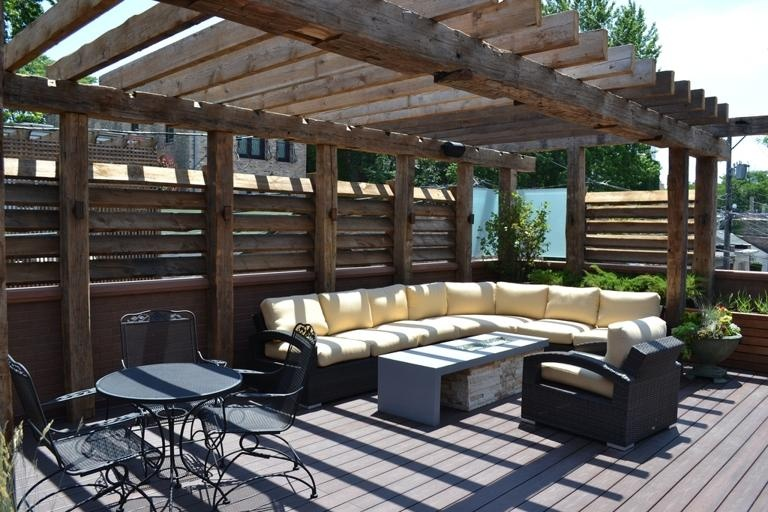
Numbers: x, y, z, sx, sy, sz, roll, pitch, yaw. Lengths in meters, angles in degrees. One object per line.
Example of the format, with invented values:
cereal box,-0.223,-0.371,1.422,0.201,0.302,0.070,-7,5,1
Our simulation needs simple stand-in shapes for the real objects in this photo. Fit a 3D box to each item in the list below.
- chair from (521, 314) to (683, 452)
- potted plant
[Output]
chair,2.264,1.272,5.764,1.524,1.172,1.570,2,-1,-42
potted plant,4.245,1.122,7.580,1.452,1.099,1.249,-2,-1,20
